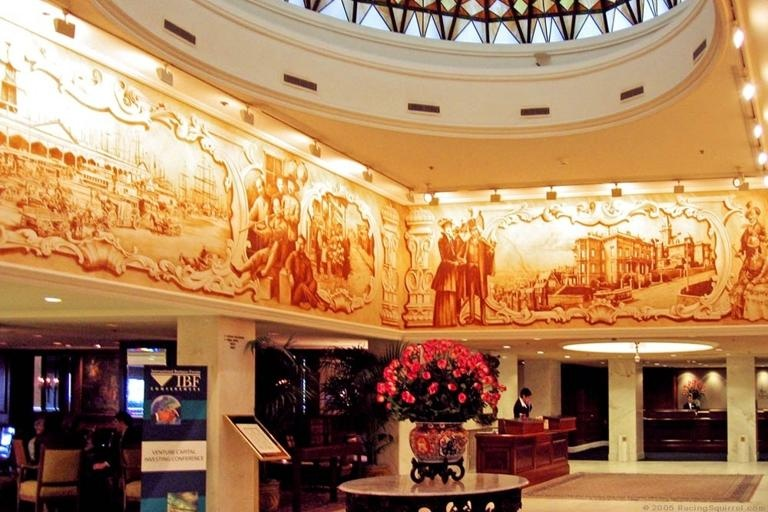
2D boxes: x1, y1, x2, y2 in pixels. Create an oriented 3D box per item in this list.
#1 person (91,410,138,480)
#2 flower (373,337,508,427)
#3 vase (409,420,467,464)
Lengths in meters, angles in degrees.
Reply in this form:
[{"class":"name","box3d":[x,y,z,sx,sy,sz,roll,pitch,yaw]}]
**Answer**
[{"class":"person","box3d":[-5.546,3.947,13.614,0.717,1.458,1.702,6,-11,-37]},{"class":"flower","box3d":[0.685,1.657,8.749,1.284,0.852,1.292,7,-8,-29]},{"class":"vase","box3d":[0.677,2.470,8.792,0.794,0.419,0.715,6,-16,-27]}]
